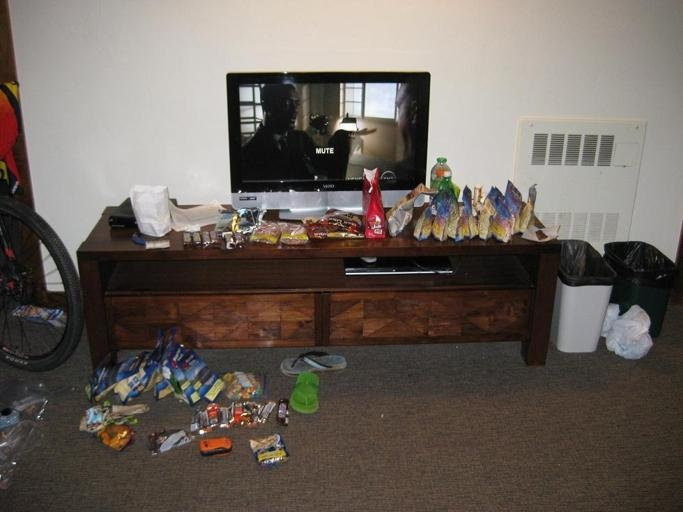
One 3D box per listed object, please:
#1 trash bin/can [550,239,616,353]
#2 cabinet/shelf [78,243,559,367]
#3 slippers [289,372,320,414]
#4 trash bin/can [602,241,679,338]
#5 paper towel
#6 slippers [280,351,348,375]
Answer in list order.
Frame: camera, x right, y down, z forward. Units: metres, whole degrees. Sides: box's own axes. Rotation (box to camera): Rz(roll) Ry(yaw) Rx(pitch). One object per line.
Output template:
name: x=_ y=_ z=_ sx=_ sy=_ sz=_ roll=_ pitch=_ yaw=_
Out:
trash bin/can: x=1.306 y=0.244 z=2.897 sx=0.311 sy=0.540 sz=0.466 roll=0 pitch=21 yaw=3
cabinet/shelf: x=-0.103 y=0.225 z=2.963 sx=2.416 sy=0.613 sz=0.602 roll=-1 pitch=7 yaw=-1
slippers: x=-0.185 y=0.666 z=2.621 sx=0.144 sy=0.086 sz=0.235 roll=0 pitch=19 yaw=-4
trash bin/can: x=1.675 y=0.200 z=3.030 sx=0.285 sy=0.442 sz=0.386 roll=-5 pitch=25 yaw=-3
paper towel: x=-0.872 y=-0.240 z=2.756 sx=0.277 sy=0.185 sz=0.379 roll=18 pitch=28 yaw=30
slippers: x=-0.154 y=0.563 z=2.821 sx=0.253 sy=0.066 sz=0.140 roll=2 pitch=19 yaw=-1
